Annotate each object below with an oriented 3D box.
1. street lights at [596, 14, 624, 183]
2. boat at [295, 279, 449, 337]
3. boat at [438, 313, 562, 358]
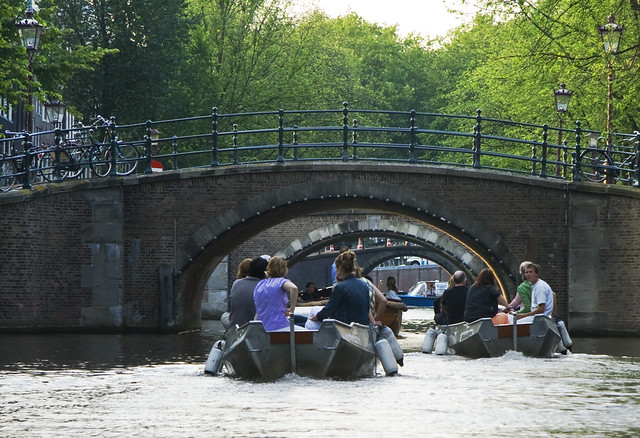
[{"bbox_3d":[8.550,-3.578,50.464,0.936,4.992,0.589,2,15,11],"label":"street lights"},{"bbox_3d":[1.450,2.564,49.835,3.296,1.875,5.833,-1,-5,1],"label":"boat"},{"bbox_3d":[4.832,2.983,44.372,2.560,1.065,0.909,-1,-2,18],"label":"boat"}]
